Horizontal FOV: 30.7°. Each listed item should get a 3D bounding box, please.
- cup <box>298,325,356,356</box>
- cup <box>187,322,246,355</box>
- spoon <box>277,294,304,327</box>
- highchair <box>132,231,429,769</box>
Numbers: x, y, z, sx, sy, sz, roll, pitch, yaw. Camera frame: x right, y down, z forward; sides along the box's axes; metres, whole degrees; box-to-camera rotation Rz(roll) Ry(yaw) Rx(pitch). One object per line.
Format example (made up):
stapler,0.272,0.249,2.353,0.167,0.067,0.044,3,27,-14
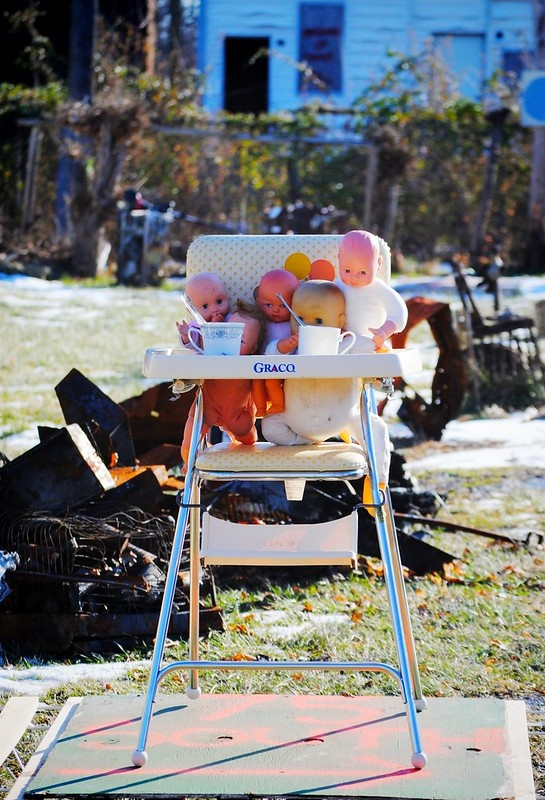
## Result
cup,0.143,-0.153,2.602,0.141,0.087,0.086,8,-9,5
cup,-0.148,-0.161,2.580,0.120,0.074,0.084,-1,-1,36
spoon,0.049,-0.260,2.783,0.032,0.115,0.032,-36,-2,30
highchair,0.030,0.226,2.810,1.014,1.361,0.855,2,10,23
